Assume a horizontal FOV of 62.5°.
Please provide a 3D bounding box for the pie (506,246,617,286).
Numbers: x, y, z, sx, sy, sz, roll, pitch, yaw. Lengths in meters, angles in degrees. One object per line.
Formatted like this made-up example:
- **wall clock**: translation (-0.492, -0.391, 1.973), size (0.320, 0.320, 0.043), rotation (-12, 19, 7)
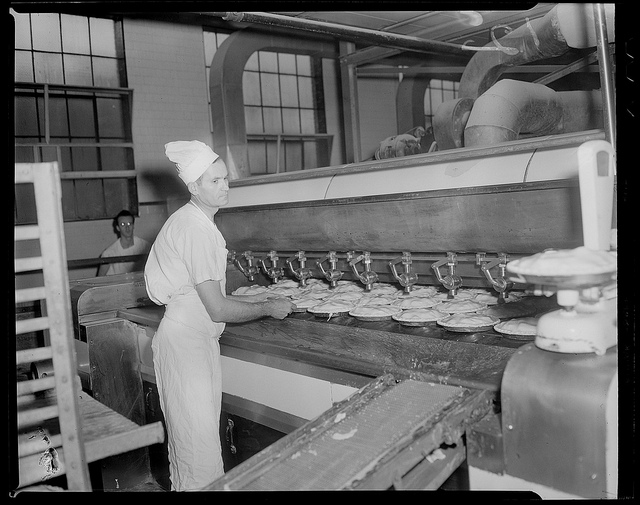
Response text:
- **pie**: translation (0.644, 0.039, 1.397), size (0.247, 0.093, 0.167), rotation (-8, 7, -16)

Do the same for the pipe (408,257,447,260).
- **pipe**: translation (0.537, 0.033, 2.658), size (0.174, 0.015, 0.033), rotation (-1, 9, 39)

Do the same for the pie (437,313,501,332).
- **pie**: translation (0.599, 0.277, 2.114), size (0.222, 0.049, 0.209), rotation (-8, 7, -15)

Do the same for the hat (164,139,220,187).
- **hat**: translation (-0.542, -0.376, 2.217), size (0.213, 0.184, 0.118), rotation (-3, 8, 22)

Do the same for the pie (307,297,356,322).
- **pie**: translation (0.083, 0.269, 2.569), size (0.251, 0.046, 0.241), rotation (0, 9, 40)

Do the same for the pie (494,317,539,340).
- **pie**: translation (0.719, 0.278, 1.947), size (0.151, 0.048, 0.199), rotation (-3, 8, 22)

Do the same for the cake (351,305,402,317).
- **cake**: translation (0.252, 0.267, 2.387), size (0.225, 0.030, 0.129), rotation (-4, 7, 14)

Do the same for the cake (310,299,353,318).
- **cake**: translation (0.057, 0.273, 2.560), size (0.205, 0.046, 0.205), rotation (-6, 7, 4)

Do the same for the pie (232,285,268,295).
- **pie**: translation (-0.420, 0.236, 3.238), size (0.166, 0.018, 0.299), rotation (-10, 8, -31)
